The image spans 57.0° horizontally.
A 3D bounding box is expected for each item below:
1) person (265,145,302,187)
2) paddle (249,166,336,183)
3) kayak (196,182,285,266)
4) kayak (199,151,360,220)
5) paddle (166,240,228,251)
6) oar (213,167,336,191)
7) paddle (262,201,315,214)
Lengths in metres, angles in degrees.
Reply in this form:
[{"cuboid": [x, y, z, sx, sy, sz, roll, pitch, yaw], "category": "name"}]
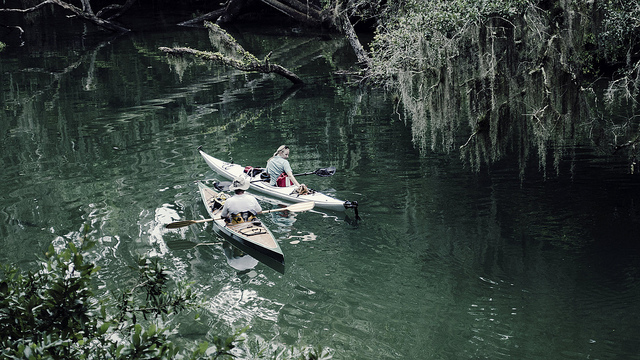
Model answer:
[{"cuboid": [-1.483, -0.529, 22.301, 0.649, 1.538, 1.571, -5, 6, -35], "category": "person"}, {"cuboid": [-1.069, -0.171, 22.561, 2.594, 0.145, 0.350, -8, 30, 8], "category": "paddle"}, {"cuboid": [-2.958, 1.357, 20.152, 1.257, 0.704, 5.448, -30, 53, -33], "category": "kayak"}, {"cuboid": [-1.418, 0.294, 21.932, 5.164, 0.793, 0.866, 21, 38, 25], "category": "kayak"}, {"cuboid": [-4.014, 2.161, 19.357, 2.109, 0.089, 0.444, 1, 41, -6], "category": "paddle"}, {"cuboid": [-1.641, -0.003, 22.281, 4.396, 0.219, 0.553, -6, 46, 5], "category": "oar"}, {"cuboid": [-1.067, 0.997, 21.077, 2.035, 0.074, 0.261, -6, 49, -14], "category": "paddle"}]
